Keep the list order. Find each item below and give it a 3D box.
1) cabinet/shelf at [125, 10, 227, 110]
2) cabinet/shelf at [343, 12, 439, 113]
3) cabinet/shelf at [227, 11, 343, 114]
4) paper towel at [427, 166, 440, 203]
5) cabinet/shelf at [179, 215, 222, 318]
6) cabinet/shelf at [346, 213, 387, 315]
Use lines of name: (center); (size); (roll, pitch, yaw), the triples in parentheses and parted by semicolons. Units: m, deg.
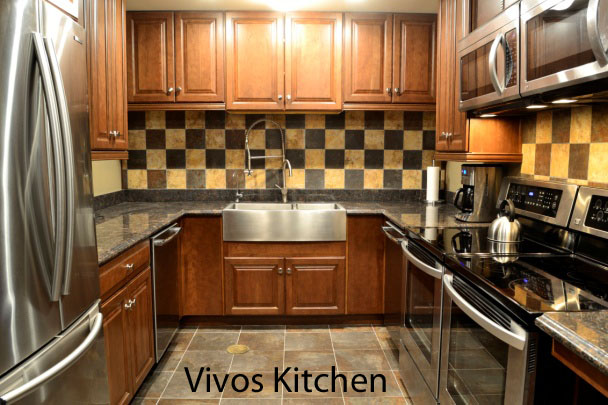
cabinet/shelf: (-1.038, -1.179, 3.812); (0.850, 0.770, 0.394); (3, 8, 8)
cabinet/shelf: (0.799, -1.199, 3.789); (0.845, 0.775, 0.316); (11, 29, 28)
cabinet/shelf: (-0.160, -1.165, 3.806); (0.974, 0.794, 0.356); (1, 15, 1)
paper towel: (1.102, -0.152, 3.802); (0.115, 0.317, 0.073); (-1, 15, -3)
cabinet/shelf: (-0.815, 0.486, 3.538); (0.335, 0.767, 0.166); (-3, 15, -11)
cabinet/shelf: (0.491, 0.494, 3.584); (0.299, 0.811, 0.144); (1, 15, 4)
